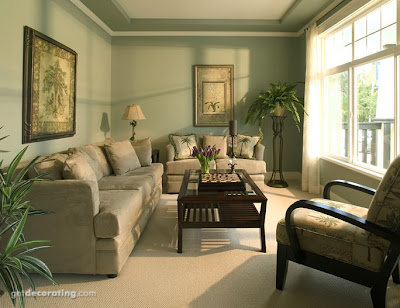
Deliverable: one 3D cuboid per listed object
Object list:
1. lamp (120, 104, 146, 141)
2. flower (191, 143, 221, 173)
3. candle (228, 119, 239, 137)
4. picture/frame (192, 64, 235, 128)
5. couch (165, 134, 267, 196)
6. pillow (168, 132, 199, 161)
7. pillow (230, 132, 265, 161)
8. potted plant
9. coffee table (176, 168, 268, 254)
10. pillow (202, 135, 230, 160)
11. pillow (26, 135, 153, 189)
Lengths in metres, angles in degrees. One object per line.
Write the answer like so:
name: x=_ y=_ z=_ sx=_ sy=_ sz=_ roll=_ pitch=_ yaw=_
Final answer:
lamp: x=-1.193 y=-0.611 z=5.500 sx=0.409 sy=0.756 sz=0.439 roll=0 pitch=3 yaw=2
flower: x=0.086 y=0.045 z=4.121 sx=0.393 sy=0.441 sz=0.429 roll=0 pitch=0 yaw=0
candle: x=0.429 y=-0.327 z=3.885 sx=0.091 sy=0.201 sz=0.240 roll=0 pitch=12 yaw=4
picture/frame: x=0.269 y=-1.122 z=5.871 sx=0.813 sy=1.174 sz=0.181 roll=-1 pitch=12 yaw=-2
couch: x=0.203 y=0.194 z=5.325 sx=1.727 sy=1.100 sz=0.955 roll=0 pitch=-4 yaw=-2
pillow: x=-0.303 y=-0.149 z=5.278 sx=0.451 sy=0.453 sz=0.134 roll=-3 pitch=-19 yaw=-29
pillow: x=0.862 y=-0.131 z=5.400 sx=0.523 sy=0.447 sz=0.354 roll=11 pitch=7 yaw=35
potted plant: x=1.443 y=-0.875 z=5.542 sx=1.056 sy=0.775 sz=1.019 roll=3 pitch=-3 yaw=-35
coffee table: x=0.252 y=0.577 z=3.562 sx=0.940 sy=0.638 sz=1.184 roll=0 pitch=11 yaw=2
pillow: x=0.288 y=-0.115 z=5.532 sx=0.489 sy=0.448 sz=0.341 roll=1 pitch=3 yaw=1
pillow: x=-1.278 y=0.081 z=3.679 sx=0.806 sy=0.464 sz=1.700 roll=6 pitch=3 yaw=6
